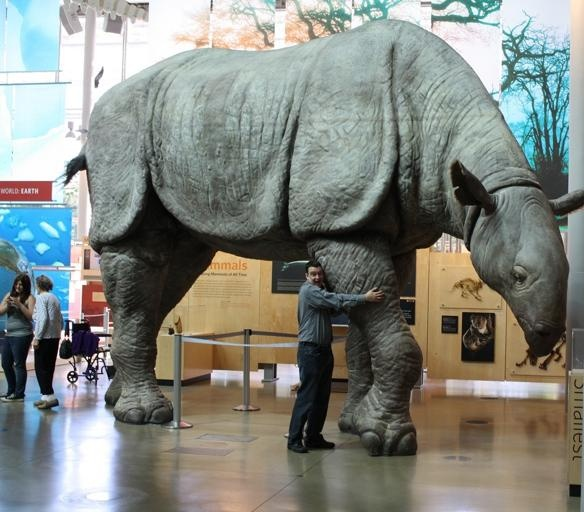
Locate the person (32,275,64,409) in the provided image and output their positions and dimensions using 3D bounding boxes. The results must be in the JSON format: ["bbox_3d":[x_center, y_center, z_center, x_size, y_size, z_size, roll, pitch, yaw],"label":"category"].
[{"bbox_3d":[-2.733,0.933,6.817,0.309,1.456,0.521,3,-4,-23],"label":"person"}]

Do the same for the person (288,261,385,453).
[{"bbox_3d":[0.281,0.798,4.873,0.723,1.500,0.457,0,-4,18],"label":"person"}]

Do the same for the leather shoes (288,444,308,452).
[{"bbox_3d":[0.055,1.497,4.786,0.133,0.062,0.057,-8,-11,38],"label":"leather shoes"}]
